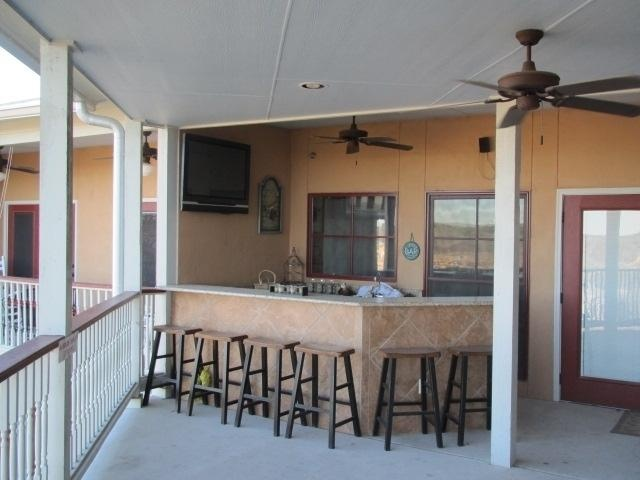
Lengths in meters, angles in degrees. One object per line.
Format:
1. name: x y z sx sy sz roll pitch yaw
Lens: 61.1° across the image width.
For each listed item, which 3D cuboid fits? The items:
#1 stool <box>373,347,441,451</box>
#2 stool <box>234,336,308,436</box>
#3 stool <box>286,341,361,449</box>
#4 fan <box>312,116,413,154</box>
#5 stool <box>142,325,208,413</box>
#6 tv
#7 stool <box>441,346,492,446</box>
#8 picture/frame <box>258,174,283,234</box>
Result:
1. stool: 0.836 1.438 5.116 0.659 0.859 0.530 1 1 -6
2. stool: -0.563 1.369 5.477 0.643 0.798 0.614 10 12 30
3. stool: 0.033 1.425 5.188 0.704 0.863 0.578 1 1 26
4. fan: 0.610 -1.168 6.403 0.750 0.345 0.827 -1 8 -32
5. stool: -1.554 1.321 5.998 0.518 0.909 0.544 12 14 16
6. tv: -1.322 -0.761 6.854 0.100 0.966 1.181 6 5 36
7. stool: 1.439 1.442 5.191 0.518 0.595 0.459 1 1 -4
8. picture/frame: -0.717 -0.508 7.758 0.098 0.800 0.490 1 1 30
